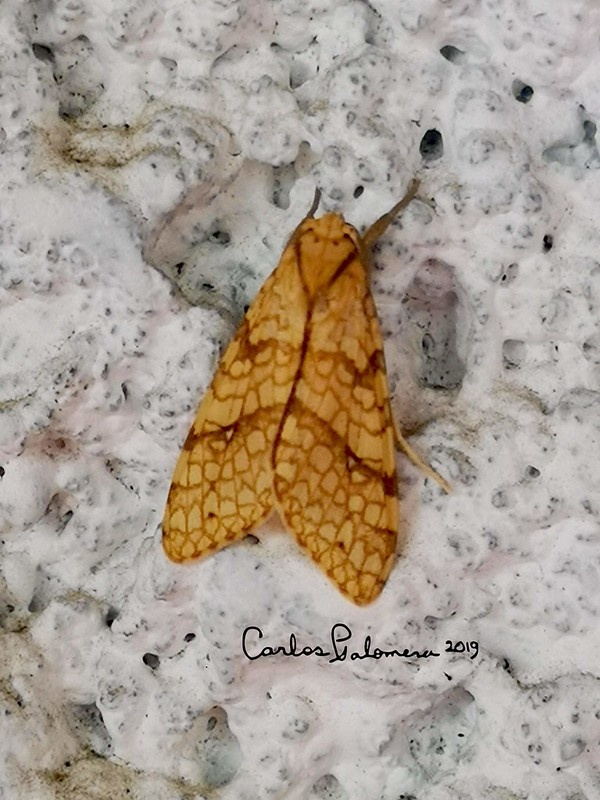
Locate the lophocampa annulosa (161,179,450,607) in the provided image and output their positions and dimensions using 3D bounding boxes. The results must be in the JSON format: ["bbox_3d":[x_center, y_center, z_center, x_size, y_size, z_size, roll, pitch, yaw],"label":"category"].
[{"bbox_3d":[0.013,-0.086,1.821,0.499,0.219,0.802,9,86,-17],"label":"lophocampa annulosa"}]
